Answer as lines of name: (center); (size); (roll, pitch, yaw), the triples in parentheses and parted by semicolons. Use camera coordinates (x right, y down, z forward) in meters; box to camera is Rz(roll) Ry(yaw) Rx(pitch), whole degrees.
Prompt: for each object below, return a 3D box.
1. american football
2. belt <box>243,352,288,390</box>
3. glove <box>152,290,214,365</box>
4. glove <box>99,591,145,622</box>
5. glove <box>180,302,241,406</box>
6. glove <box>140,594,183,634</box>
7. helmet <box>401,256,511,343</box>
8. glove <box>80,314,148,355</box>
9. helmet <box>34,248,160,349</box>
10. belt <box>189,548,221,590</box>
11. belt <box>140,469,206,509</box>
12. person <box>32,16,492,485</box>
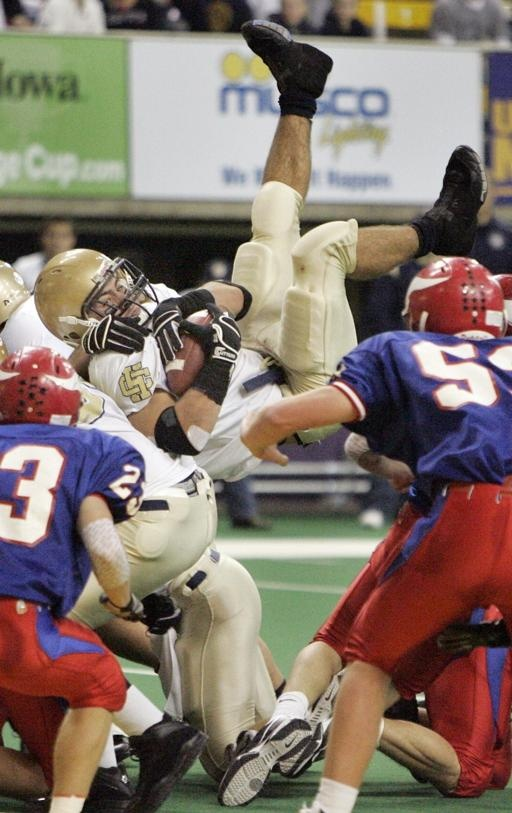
american football: (-0.176, -0.139, 2.272); (0.104, 0.192, 0.126); (13, -17, 37)
belt: (0.031, -0.095, 2.814); (0.129, 0.067, 0.093); (-35, 8, 17)
glove: (-0.166, -0.203, 2.303); (0.062, 0.197, 0.161); (42, -20, -33)
glove: (-0.247, 0.393, 1.712); (0.086, 0.033, 0.061); (24, -3, -11)
glove: (-0.102, -0.130, 2.219); (0.098, 0.206, 0.163); (25, -11, -23)
glove: (-0.237, 0.509, 2.194); (0.098, 0.047, 0.120); (18, -19, -4)
helmet: (0.427, -0.233, 1.905); (0.176, 0.164, 0.204); (-3, 7, -6)
glove: (-0.351, -0.174, 2.181); (0.099, 0.056, 0.132); (-10, -2, 33)
helmet: (-0.412, -0.287, 2.348); (0.313, 0.207, 0.224); (-14, 20, 21)
belt: (-0.137, 0.414, 2.252); (0.035, 0.095, 0.069); (43, 9, 3)
belt: (-0.200, 0.196, 2.079); (0.104, 0.033, 0.073); (-22, 0, 2)
person: (-0.111, -0.581, 2.952); (0.981, 1.119, 1.940); (12, 32, 24)
